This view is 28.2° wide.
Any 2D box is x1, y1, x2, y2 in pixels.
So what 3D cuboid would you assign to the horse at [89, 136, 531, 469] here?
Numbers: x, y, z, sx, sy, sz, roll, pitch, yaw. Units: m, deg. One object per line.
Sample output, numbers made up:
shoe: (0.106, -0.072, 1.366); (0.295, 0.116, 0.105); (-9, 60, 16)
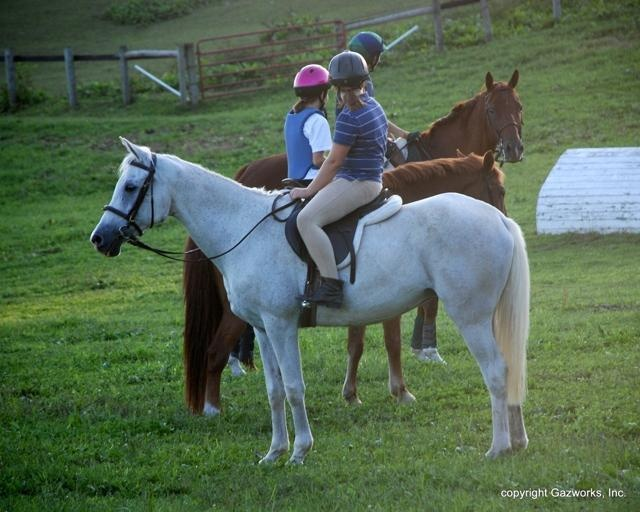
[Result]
horse: (-0.007, 0.985, 21.703); (5.321, 4.200, 1.512); (0, 5, 1)
